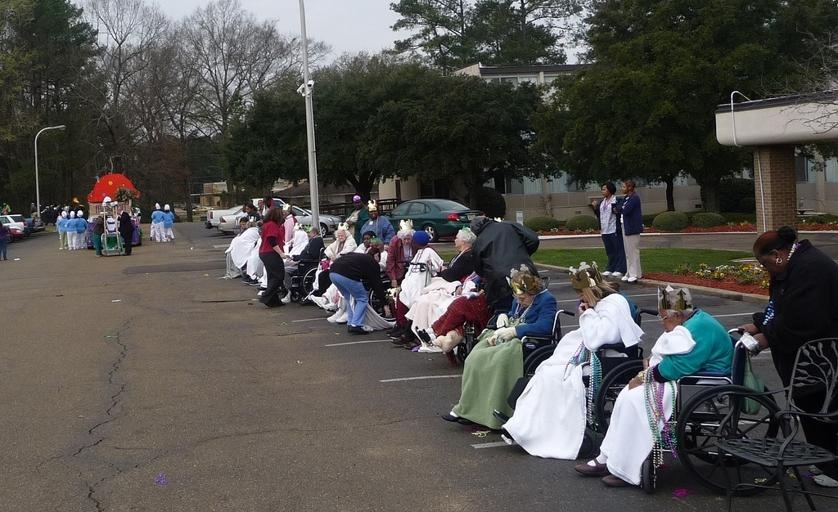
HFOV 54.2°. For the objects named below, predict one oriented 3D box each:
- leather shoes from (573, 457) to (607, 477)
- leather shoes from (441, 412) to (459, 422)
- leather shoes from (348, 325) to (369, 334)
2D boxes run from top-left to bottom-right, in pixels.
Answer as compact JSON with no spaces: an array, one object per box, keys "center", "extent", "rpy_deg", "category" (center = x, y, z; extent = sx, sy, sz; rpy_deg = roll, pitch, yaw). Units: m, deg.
[{"center":[2.426,2.995,11.550],"extent":[0.497,0.224,0.195],"rpy_deg":[1,3,3],"category":"leather shoes"},{"center":[0.491,2.526,12.794],"extent":[0.297,0.129,0.111],"rpy_deg":[16,-5,11],"category":"leather shoes"},{"center":[-1.303,1.584,17.486],"extent":[0.484,0.207,0.165],"rpy_deg":[4,4,-17],"category":"leather shoes"}]
